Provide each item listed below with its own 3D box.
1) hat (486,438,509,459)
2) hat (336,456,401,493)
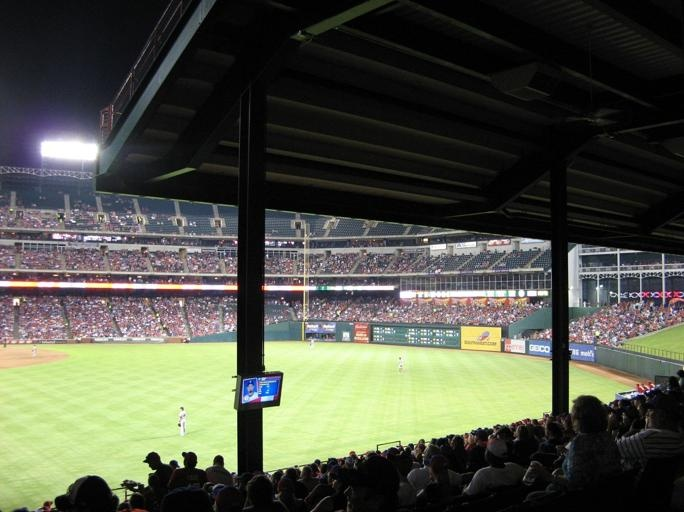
[{"bbox_3d":[2.098,2.611,7.618,0.236,0.134,0.289,-2,6,0],"label":"hat"},{"bbox_3d":[0.295,2.227,5.744,0.559,0.380,0.169,-1,-5,-1],"label":"hat"}]
